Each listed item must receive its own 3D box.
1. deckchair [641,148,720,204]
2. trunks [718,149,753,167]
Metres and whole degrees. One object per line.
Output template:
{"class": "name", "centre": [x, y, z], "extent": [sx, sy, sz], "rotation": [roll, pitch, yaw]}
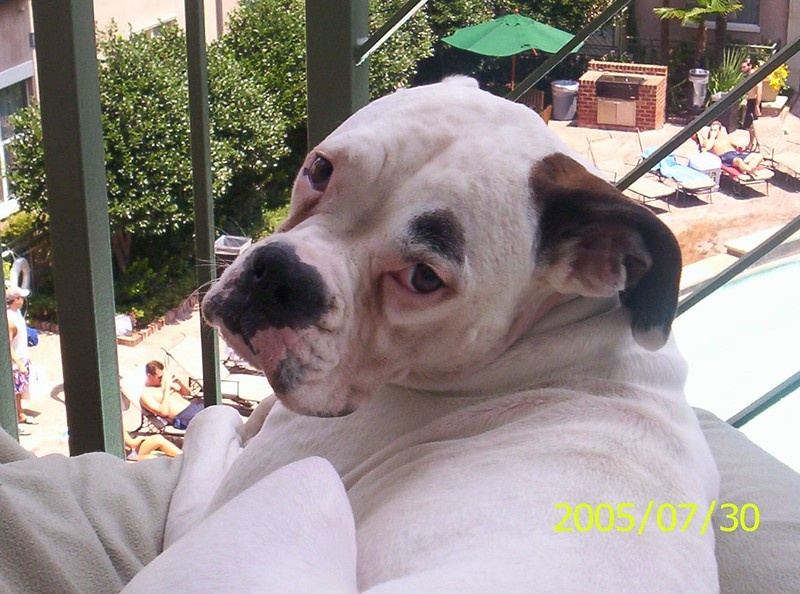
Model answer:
{"class": "deckchair", "centre": [2.662, -1.272, 10.477], "extent": [0.621, 0.335, 0.365], "rotation": [-20, 39, -24]}
{"class": "trunks", "centre": [3.425, -1.482, 11.013], "extent": [0.238, 0.083, 0.235], "rotation": [-10, 30, -23]}
